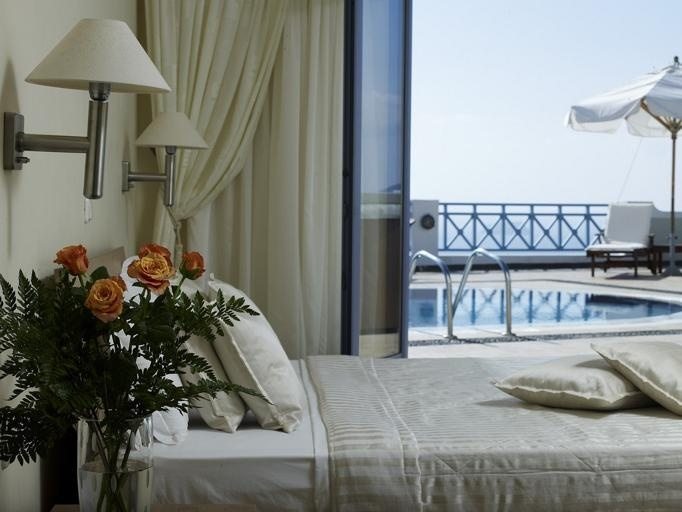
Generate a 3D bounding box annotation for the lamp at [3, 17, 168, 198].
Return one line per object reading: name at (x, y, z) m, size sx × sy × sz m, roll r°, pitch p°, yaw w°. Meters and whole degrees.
lamp at (-0.650, -0.354, 1.946) m, size 0.435 × 0.491 × 0.430 m, roll 4°, pitch 0°, yaw 4°

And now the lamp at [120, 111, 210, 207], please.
lamp at (-0.689, -0.405, 3.030) m, size 0.379 × 0.438 × 0.350 m, roll 3°, pitch 0°, yaw -5°

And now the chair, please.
chair at (3.764, -0.231, 9.579) m, size 0.686 × 0.915 × 1.057 m, roll 3°, pitch 6°, yaw 43°
